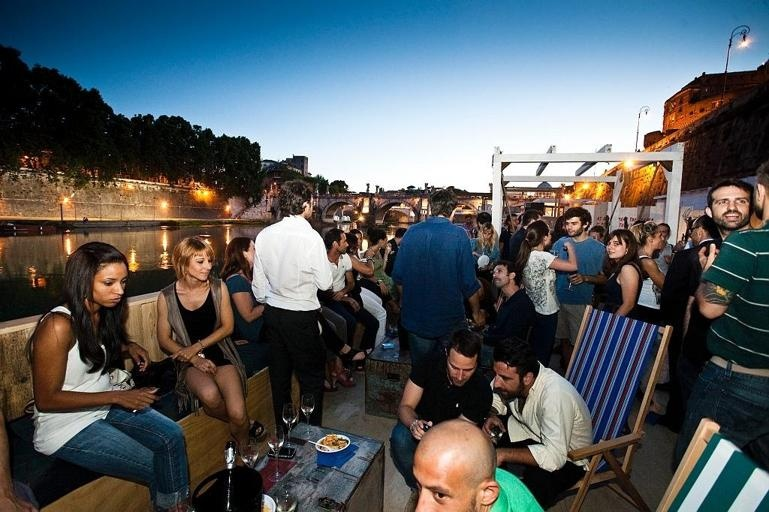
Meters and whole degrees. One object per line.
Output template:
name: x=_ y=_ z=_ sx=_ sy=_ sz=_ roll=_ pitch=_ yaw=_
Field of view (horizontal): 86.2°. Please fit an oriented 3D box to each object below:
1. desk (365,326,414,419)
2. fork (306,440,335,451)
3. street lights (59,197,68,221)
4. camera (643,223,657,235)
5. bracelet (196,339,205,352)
desk: x=0.079 y=1.396 z=4.873 sx=0.532 sy=0.650 sz=0.998 roll=1 pitch=21 yaw=8
fork: x=-0.516 y=1.554 z=3.390 sx=0.122 sy=0.018 sz=0.092 roll=3 pitch=-4 yaw=37
street lights: x=-31.646 y=-4.741 z=40.368 sx=0.806 sy=2.033 sz=0.792 roll=-6 pitch=11 yaw=-38
camera: x=3.325 y=-0.347 z=5.112 sx=0.122 sy=0.100 sz=0.137 roll=14 pitch=-12 yaw=-36
bracelet: x=-1.891 y=0.911 z=4.213 sx=0.026 sy=0.101 sz=0.085 roll=9 pitch=-42 yaw=-32
